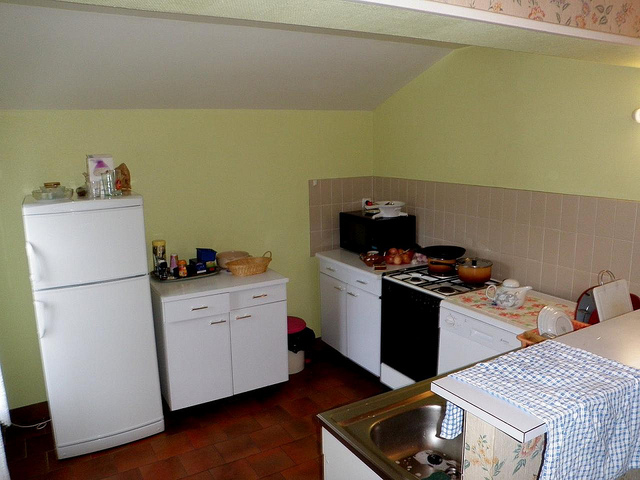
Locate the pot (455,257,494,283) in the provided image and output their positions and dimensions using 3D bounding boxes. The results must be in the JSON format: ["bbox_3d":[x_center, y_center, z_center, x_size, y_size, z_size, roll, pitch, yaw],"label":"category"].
[{"bbox_3d":[1.236,0.243,3.763,0.273,0.179,0.295,-3,8,0],"label":"pot"}]

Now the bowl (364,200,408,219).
[{"bbox_3d":[0.659,-0.311,4.559,0.393,0.137,0.508,-3,8,5],"label":"bowl"}]

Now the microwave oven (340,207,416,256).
[{"bbox_3d":[0.561,-0.081,4.781,0.600,0.555,0.878,-6,13,-29],"label":"microwave oven"}]

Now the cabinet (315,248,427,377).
[{"bbox_3d":[0.500,0.641,4.581,0.619,0.969,1.008,-8,14,-30],"label":"cabinet"}]

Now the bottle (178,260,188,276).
[{"bbox_3d":[-1.154,0.230,3.977,0.066,0.120,0.149,-6,8,-15],"label":"bottle"}]

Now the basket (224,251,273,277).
[{"bbox_3d":[-0.627,0.227,4.102,0.350,0.131,0.243,-10,10,-38],"label":"basket"}]

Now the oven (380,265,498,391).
[{"bbox_3d":[0.889,0.788,3.896,0.475,1.026,0.790,-8,9,-31],"label":"oven"}]

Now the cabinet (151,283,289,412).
[{"bbox_3d":[-0.682,0.940,4.041,1.034,0.967,0.604,-12,-28,1],"label":"cabinet"}]
